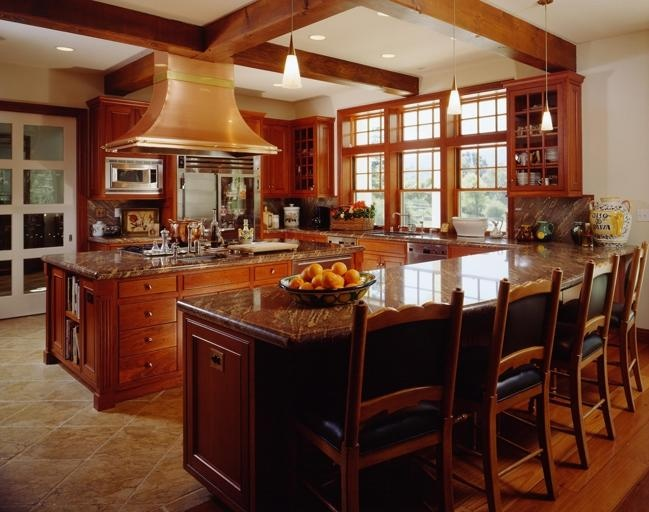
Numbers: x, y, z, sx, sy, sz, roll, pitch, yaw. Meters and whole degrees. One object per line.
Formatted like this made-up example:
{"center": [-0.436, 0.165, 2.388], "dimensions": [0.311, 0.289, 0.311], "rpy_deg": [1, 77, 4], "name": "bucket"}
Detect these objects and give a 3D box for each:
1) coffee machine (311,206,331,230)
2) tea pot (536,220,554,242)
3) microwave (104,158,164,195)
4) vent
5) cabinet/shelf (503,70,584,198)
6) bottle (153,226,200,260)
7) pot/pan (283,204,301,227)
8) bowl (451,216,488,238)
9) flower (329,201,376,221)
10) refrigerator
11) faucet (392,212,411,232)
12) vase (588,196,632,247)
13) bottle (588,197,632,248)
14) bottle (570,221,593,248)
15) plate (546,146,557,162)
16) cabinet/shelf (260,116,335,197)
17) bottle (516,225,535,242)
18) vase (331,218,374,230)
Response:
{"center": [-0.072, -0.592, 7.660], "dimensions": [0.366, 0.512, 0.387], "rpy_deg": [1, 3, -9], "name": "coffee machine"}
{"center": [2.418, -0.277, 5.237], "dimensions": [0.188, 0.196, 0.212], "rpy_deg": [5, 12, 31], "name": "tea pot"}
{"center": [-2.486, -1.027, 6.149], "dimensions": [0.782, 0.487, 0.438], "rpy_deg": [-2, 5, -44], "name": "microwave"}
{"center": [-1.218, -1.447, 4.434], "dimensions": [1.352, 0.801, 0.838], "rpy_deg": [-6, 22, -34], "name": "vent"}
{"center": [2.334, -1.272, 5.041], "dimensions": [0.815, 1.238, 0.443], "rpy_deg": [4, 12, 25], "name": "cabinet/shelf"}
{"center": [-1.344, -0.140, 4.294], "dimensions": [0.226, 0.307, 0.745], "rpy_deg": [0, 0, -40], "name": "bottle"}
{"center": [-0.559, -0.665, 7.993], "dimensions": [0.289, 0.360, 0.545], "rpy_deg": [-2, 10, -5], "name": "pot/pan"}
{"center": [1.787, -0.354, 5.837], "dimensions": [0.325, 0.154, 0.256], "rpy_deg": [2, 0, -34], "name": "bowl"}
{"center": [0.441, -0.637, 6.909], "dimensions": [0.390, 0.172, 0.386], "rpy_deg": [-2, 3, -28], "name": "flower"}
{"center": [-1.525, -0.915, 6.555], "dimensions": [1.192, 1.102, 0.428], "rpy_deg": [-2, 4, -39], "name": "refrigerator"}
{"center": [1.152, -0.455, 6.881], "dimensions": [0.270, 0.320, 0.332], "rpy_deg": [0, 1, -36], "name": "faucet"}
{"center": [2.774, -0.325, 4.724], "dimensions": [0.468, 0.545, 0.433], "rpy_deg": [0, 0, 40], "name": "vase"}
{"center": [2.771, -0.308, 4.593], "dimensions": [0.466, 0.543, 0.432], "rpy_deg": [0, 0, 0], "name": "bottle"}
{"center": [2.648, -0.222, 4.874], "dimensions": [0.223, 0.274, 0.238], "rpy_deg": [0, -3, 20], "name": "bottle"}
{"center": [2.371, -1.063, 4.951], "dimensions": [0.116, 0.156, 0.015], "rpy_deg": [9, 15, 44], "name": "plate"}
{"center": [-0.334, -1.569, 7.893], "dimensions": [1.303, 1.575, 1.182], "rpy_deg": [-2, 4, -40], "name": "cabinet/shelf"}
{"center": [2.251, -0.249, 5.323], "dimensions": [0.193, 0.179, 0.194], "rpy_deg": [0, 0, 29], "name": "bottle"}
{"center": [0.377, -0.466, 6.951], "dimensions": [0.615, 0.192, 0.182], "rpy_deg": [3, 11, 22], "name": "vase"}
